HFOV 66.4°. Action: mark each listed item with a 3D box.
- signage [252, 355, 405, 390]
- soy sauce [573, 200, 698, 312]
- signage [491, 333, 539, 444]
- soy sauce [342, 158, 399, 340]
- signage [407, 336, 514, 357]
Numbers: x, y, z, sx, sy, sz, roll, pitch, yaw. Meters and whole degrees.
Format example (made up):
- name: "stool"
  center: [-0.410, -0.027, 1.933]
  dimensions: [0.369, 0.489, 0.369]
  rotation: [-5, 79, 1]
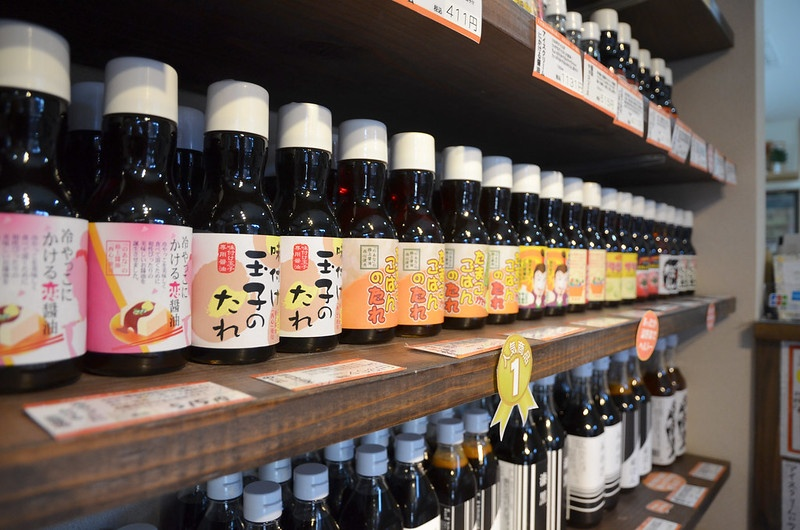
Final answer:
- name: "signage"
  center: [-0.103, 0.166, 0.933]
  dimensions: [0.222, 0.020, 0.080]
  rotation: [0, 3, -31]
- name: "soy sauce"
  center: [0.721, -0.023, 1.904]
  dimensions: [0.373, 0.290, 0.122]
  rotation: [-1, 1, -44]
- name: "signage"
  center: [0.223, 0.241, 1.195]
  dimensions: [0.004, 0.280, 0.261]
  rotation: [3, 6, 35]
- name: "soy sauce"
  center: [-0.061, -0.027, 1.133]
  dimensions: [0.110, 0.338, 0.073]
  rotation: [1, 1, -7]
- name: "signage"
  center: [0.113, 0.150, 1.123]
  dimensions: [0.197, 0.013, 0.111]
  rotation: [-1, 4, -43]
